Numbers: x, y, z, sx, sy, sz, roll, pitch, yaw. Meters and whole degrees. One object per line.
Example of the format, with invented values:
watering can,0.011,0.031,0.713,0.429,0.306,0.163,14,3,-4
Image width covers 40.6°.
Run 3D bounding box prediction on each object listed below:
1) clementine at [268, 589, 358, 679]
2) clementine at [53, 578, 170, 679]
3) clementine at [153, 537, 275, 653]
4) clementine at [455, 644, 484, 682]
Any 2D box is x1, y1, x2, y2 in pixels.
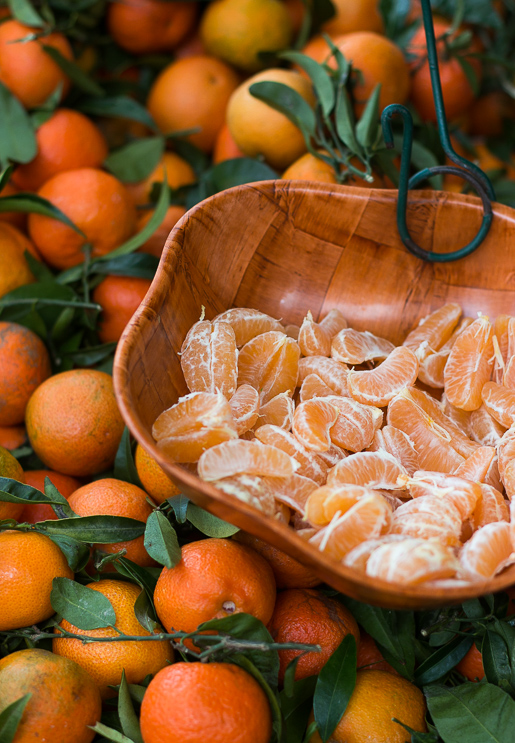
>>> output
clementine,0.070,0.360,1.029,0.115,0.113,0.109,-43,86,-9
clementine,-0.204,0.388,1.050,0.151,0.136,0.134,0,88,10
clementine,-0.055,0.320,1.018,0.153,0.167,0.144,-15,87,27
clementine,0.320,0.439,1.065,0.049,0.046,0.053,1,92,10
